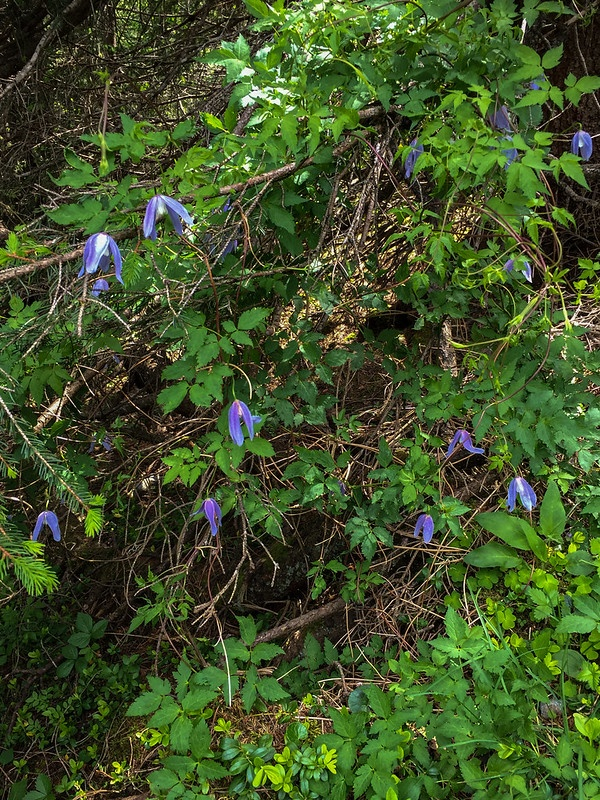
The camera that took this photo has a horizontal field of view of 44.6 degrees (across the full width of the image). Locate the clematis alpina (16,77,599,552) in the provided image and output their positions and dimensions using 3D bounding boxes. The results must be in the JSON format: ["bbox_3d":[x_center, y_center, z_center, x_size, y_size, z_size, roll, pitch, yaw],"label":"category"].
[{"bbox_3d":[-0.172,-0.369,2.416,1.659,0.844,0.919,-21,34,-15],"label":"clematis alpina"}]
